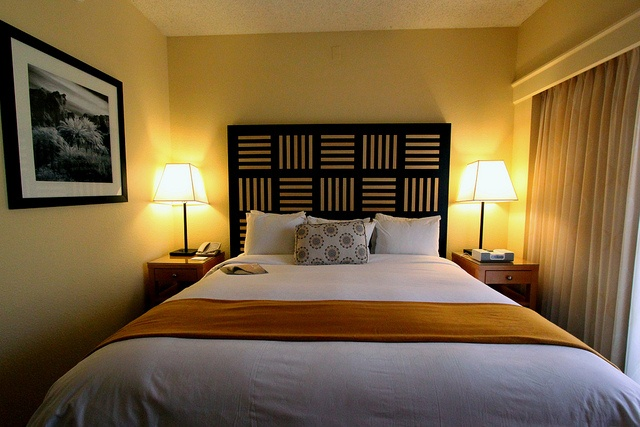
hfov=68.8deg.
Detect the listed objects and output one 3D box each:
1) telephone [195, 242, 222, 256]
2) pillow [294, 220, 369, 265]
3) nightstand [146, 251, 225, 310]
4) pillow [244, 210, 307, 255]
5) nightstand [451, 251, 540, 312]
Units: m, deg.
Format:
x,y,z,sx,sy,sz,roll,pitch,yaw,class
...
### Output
x,y,z,sx,sy,sz,roll,pitch,yaw,class
-1.164,0.372,4.880,0.164,0.058,0.163,-2,24,2,telephone
0.127,0.267,4.281,0.644,0.397,0.181,-2,-17,-2,pillow
-1.428,0.715,4.907,0.597,0.588,0.554,0,7,3,nightstand
-0.436,0.200,4.634,0.438,0.319,0.152,0,-9,4,pillow
1.695,0.667,4.780,0.516,0.783,0.648,1,5,1,nightstand
